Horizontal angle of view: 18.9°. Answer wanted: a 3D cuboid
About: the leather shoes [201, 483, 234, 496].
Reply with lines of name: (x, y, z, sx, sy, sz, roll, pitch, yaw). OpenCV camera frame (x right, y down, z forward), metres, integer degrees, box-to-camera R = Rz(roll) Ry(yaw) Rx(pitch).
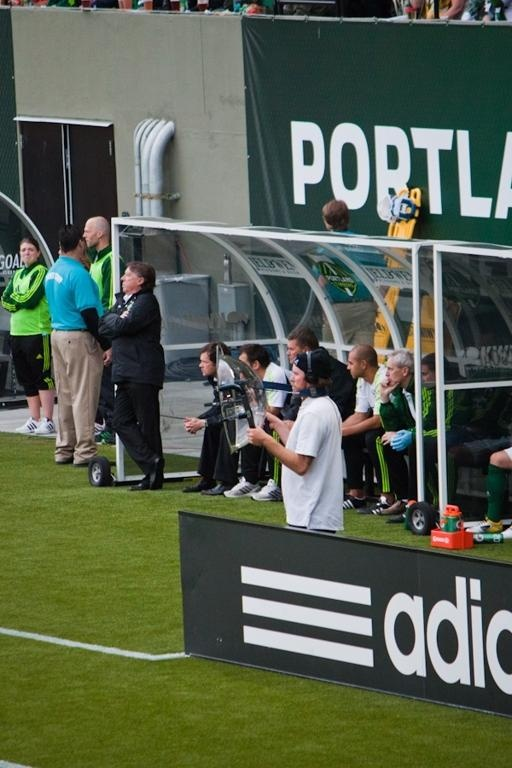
leather shoes: (-0.261, 0.701, 10.292, 0.216, 0.109, 0.080, 2, -1, -19)

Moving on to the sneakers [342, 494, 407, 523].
sneakers: (0.738, 0.735, 9.514, 0.396, 0.200, 0.151, 8, 2, 18)

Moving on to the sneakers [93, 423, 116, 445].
sneakers: (-1.223, 0.413, 12.260, 0.171, 0.158, 0.195, 2, 1, 5)

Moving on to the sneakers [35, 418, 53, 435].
sneakers: (-1.782, 0.362, 12.927, 0.072, 0.108, 0.226, 0, -7, 6)

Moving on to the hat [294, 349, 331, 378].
hat: (0.245, -0.089, 6.683, 0.122, 0.135, 0.101, 7, 13, 19)

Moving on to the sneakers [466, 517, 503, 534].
sneakers: (1.287, 0.813, 8.696, 0.226, 0.126, 0.086, 4, 0, 8)

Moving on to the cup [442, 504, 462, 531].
cup: (1.052, 0.727, 8.401, 0.107, 0.132, 0.192, -5, 8, -10)

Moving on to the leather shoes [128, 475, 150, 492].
leather shoes: (-0.814, 0.677, 10.580, 0.174, 0.159, 0.069, 1, -7, -4)

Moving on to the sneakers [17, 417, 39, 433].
sneakers: (-1.932, 0.367, 13.041, 0.203, 0.127, 0.088, 0, -1, -11)

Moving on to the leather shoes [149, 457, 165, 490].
leather shoes: (-0.685, 0.629, 10.516, 0.076, 0.248, 0.095, -6, 19, -25)

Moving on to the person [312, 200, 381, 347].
person: (0.585, -0.758, 10.515, 0.435, 0.458, 1.582, 2, -33, 2)

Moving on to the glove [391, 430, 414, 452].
glove: (0.846, 0.328, 8.947, 0.159, 0.142, 0.105, -7, -3, -9)

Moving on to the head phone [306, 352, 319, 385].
head phone: (0.240, -0.074, 6.632, 0.039, 0.139, 0.109, -1, 5, 8)

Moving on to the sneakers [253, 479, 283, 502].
sneakers: (0.050, 0.701, 10.004, 0.237, 0.130, 0.086, 8, -6, -38)

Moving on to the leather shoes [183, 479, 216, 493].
leather shoes: (-0.385, 0.690, 10.456, 0.233, 0.119, 0.088, 2, -3, -9)

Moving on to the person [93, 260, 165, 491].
person: (-0.826, -0.034, 10.346, 0.406, 1.576, 0.444, -3, 7, -4)

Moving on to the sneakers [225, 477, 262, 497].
sneakers: (-0.087, 0.686, 10.237, 0.235, 0.136, 0.099, -3, 1, -20)
